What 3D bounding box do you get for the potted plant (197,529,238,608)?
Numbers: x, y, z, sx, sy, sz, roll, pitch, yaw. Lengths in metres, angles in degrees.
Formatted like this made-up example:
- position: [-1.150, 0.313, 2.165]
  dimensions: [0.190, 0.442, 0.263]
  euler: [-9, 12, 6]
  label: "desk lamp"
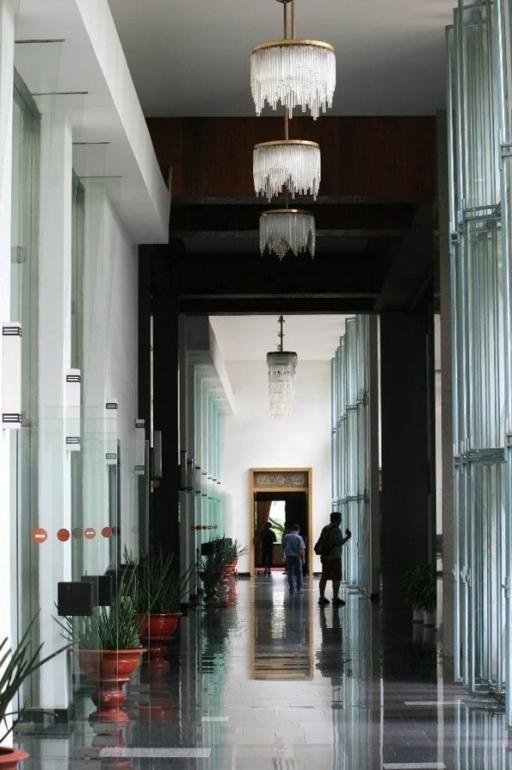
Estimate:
- position: [-0.584, 3.085, 15.418]
  dimensions: [0.297, 1.003, 1.644]
  euler: [0, 0, 16]
  label: "potted plant"
